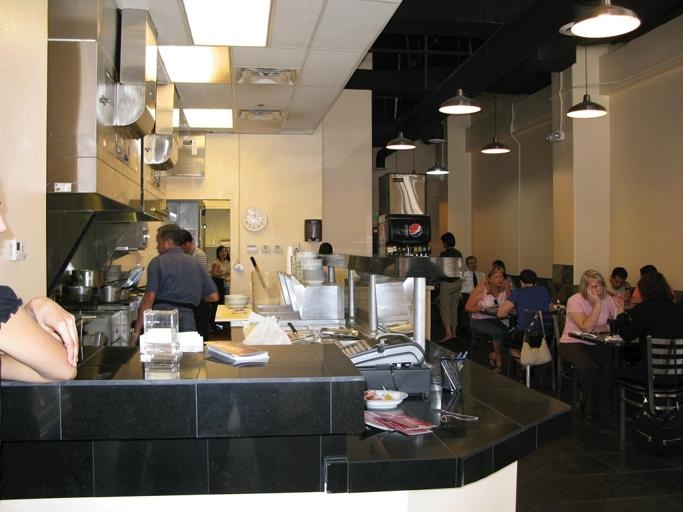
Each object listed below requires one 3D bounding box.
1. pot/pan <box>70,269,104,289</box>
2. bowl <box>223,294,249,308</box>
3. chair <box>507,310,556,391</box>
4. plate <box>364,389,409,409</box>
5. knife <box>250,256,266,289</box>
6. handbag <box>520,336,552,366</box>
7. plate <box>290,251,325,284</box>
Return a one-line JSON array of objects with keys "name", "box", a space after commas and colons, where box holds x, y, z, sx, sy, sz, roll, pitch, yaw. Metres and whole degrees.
[{"name": "pot/pan", "box": [-2.472, 0.218, 5.712, 0.209, 0.120, 0.203, 0, 0, -13]}, {"name": "bowl", "box": [-1.151, 0.499, 6.583, 0.196, 0.074, 0.186, 0, 4, 0]}, {"name": "chair", "box": [1.992, 0.953, 6.253, 0.501, 0.825, 0.559, -4, 4, 3]}, {"name": "plate", "box": [0.223, 0.722, 2.978, 0.201, 0.070, 0.191, -1, 5, 5]}, {"name": "knife", "box": [-1.178, 0.239, 8.228, 0.094, 0.518, 0.070, -24, 27, 8]}, {"name": "handbag", "box": [1.967, 0.960, 5.976, 0.376, 0.359, 0.165, 0, -16, 1]}, {"name": "plate", "box": [-0.298, 0.116, 5.292, 0.237, 0.223, 0.314, -1, -5, -8]}]
